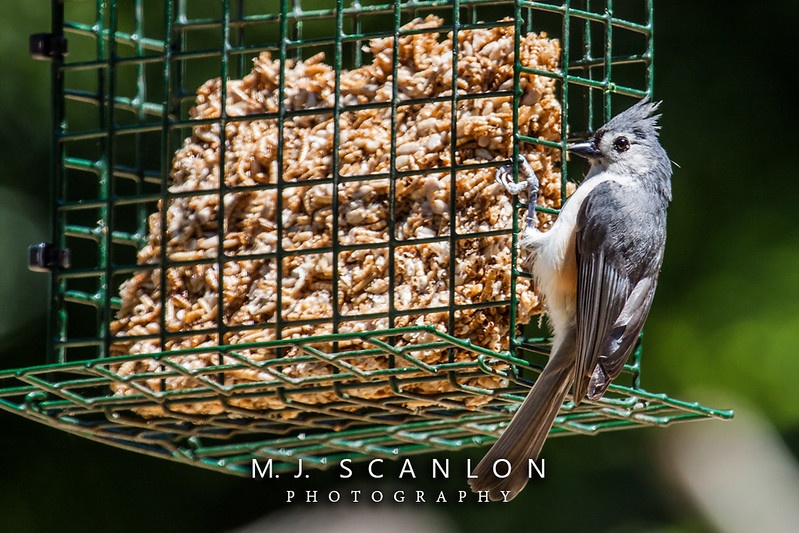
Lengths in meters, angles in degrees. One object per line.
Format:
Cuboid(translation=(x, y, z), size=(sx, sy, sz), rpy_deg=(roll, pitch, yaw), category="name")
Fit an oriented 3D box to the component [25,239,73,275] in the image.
Cuboid(translation=(-1.811, -0.038, 8.030), size=(0.283, 0.199, 0.147), rpy_deg=(-5, -6, 34), category="component")
